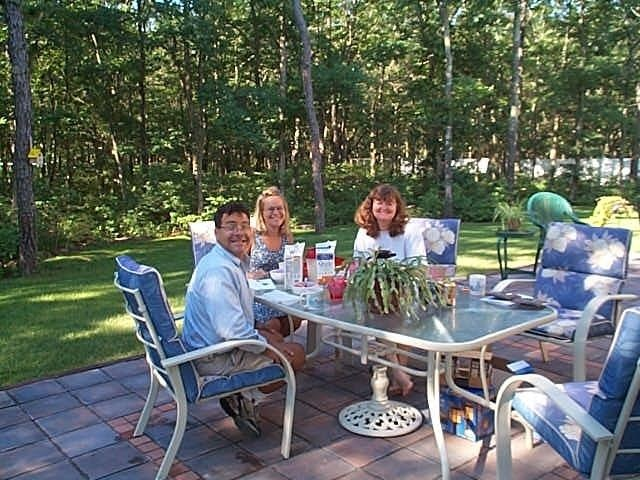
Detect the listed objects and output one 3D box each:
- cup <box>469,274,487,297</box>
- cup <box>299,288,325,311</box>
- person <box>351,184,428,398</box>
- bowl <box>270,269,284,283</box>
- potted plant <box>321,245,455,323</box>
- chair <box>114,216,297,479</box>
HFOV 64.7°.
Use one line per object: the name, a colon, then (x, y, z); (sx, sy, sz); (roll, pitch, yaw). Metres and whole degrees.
cup: (1.223, 0.359, 3.984); (0.171, 0.181, 0.162); (-3, 9, 0)
cup: (-0.053, 0.439, 3.722); (0.161, 0.110, 0.122); (0, 9, 18)
person: (0.602, 0.535, 4.615); (0.766, 2.020, 0.709); (2, 9, 23)
bowl: (-0.367, 0.301, 4.273); (0.106, 0.069, 0.103); (-2, 10, 0)
potted plant: (0.504, 0.282, 3.370); (0.590, 0.328, 0.478); (3, 8, 29)
chair: (-0.854, 0.685, 4.243); (1.580, 2.032, 1.275); (-6, 12, -26)
